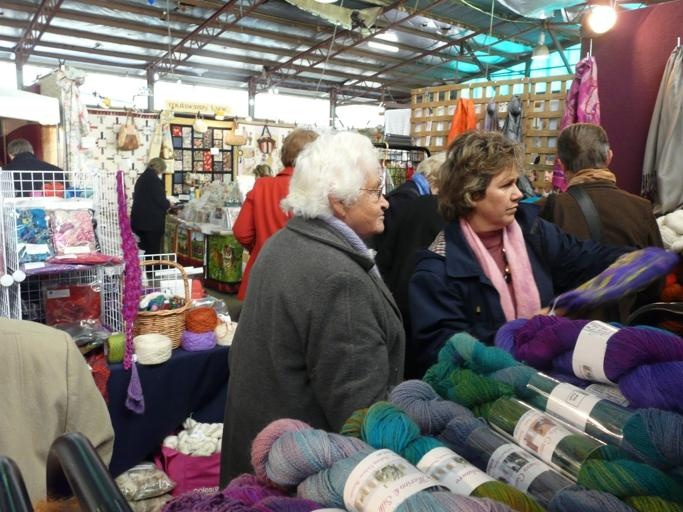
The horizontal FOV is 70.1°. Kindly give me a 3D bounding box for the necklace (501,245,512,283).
[{"bbox_3d":[0.640,0.031,1.918,0.030,0.119,0.032,-11,-5,-3],"label":"necklace"}]

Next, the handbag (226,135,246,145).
[{"bbox_3d":[-2.253,-2.528,10.487,0.259,0.116,0.265,0,2,-1],"label":"handbag"}]

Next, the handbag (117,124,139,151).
[{"bbox_3d":[-4.041,-2.281,9.198,0.254,0.617,0.444,12,10,37],"label":"handbag"}]

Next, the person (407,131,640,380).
[{"bbox_3d":[0.610,-0.006,1.881,0.813,0.950,0.498,-7,13,-25],"label":"person"}]

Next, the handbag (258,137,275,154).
[{"bbox_3d":[-1.655,-2.520,10.820,0.390,0.366,0.090,-2,0,-20],"label":"handbag"}]

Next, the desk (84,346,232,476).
[{"bbox_3d":[-1.007,0.776,2.748,0.693,0.275,0.680,-6,10,-34],"label":"desk"}]

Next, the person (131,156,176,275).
[{"bbox_3d":[-2.810,-0.727,7.149,0.541,1.416,0.530,-7,13,-23],"label":"person"}]

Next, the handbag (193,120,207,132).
[{"bbox_3d":[-2.984,-2.760,10.281,0.255,0.286,0.082,-1,10,-24],"label":"handbag"}]

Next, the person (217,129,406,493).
[{"bbox_3d":[-0.122,0.231,1.709,0.681,1.316,0.471,0,12,7],"label":"person"}]
